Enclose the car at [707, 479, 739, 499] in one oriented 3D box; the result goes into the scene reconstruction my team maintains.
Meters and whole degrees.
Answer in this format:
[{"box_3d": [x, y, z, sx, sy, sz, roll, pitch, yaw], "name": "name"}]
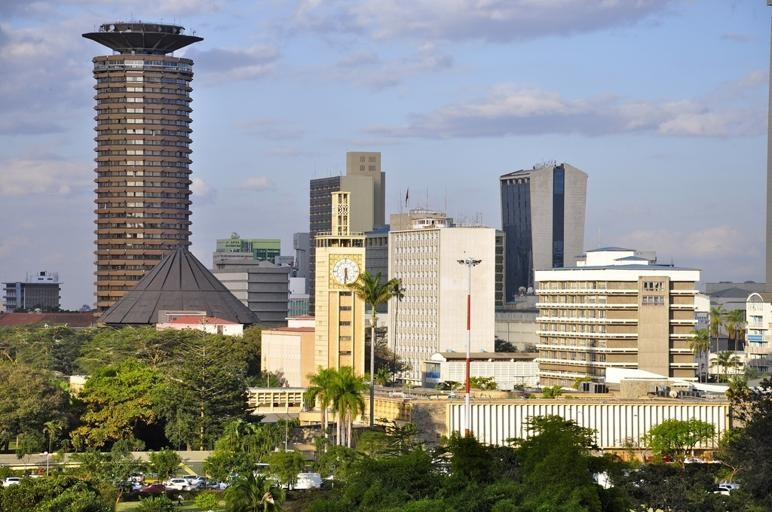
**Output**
[{"box_3d": [50.603, 35.262, 307.985, 3.958, 1.353, 2.264, -4, 2, 16], "name": "car"}]
